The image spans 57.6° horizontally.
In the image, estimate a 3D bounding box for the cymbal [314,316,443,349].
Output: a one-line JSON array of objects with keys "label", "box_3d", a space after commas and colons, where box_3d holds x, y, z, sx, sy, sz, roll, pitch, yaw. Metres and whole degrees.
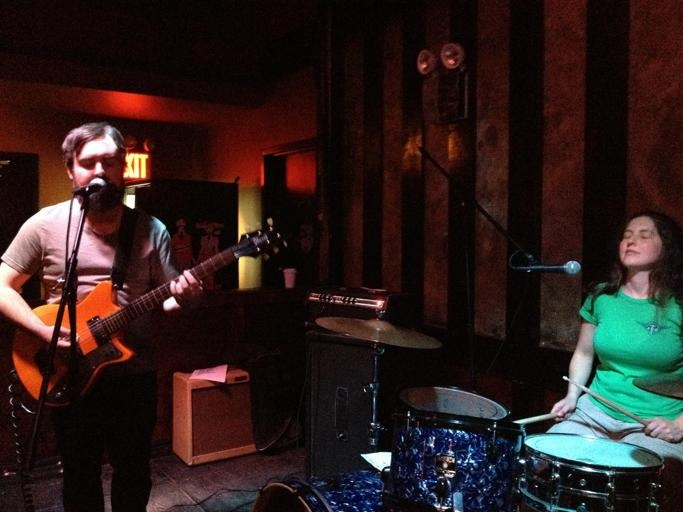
[{"label": "cymbal", "box_3d": [0.184, 0.414, 3.405, 0.776, 0.127, 0.238, 0, -1, 41]}]

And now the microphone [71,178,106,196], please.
[{"label": "microphone", "box_3d": [-1.188, -0.336, 2.901, 0.122, 0.052, 0.077, -20, 23, -21]}]

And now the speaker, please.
[{"label": "speaker", "box_3d": [0.084, 0.919, 3.852, 0.597, 0.884, 0.644, 3, 7, -16]}]
